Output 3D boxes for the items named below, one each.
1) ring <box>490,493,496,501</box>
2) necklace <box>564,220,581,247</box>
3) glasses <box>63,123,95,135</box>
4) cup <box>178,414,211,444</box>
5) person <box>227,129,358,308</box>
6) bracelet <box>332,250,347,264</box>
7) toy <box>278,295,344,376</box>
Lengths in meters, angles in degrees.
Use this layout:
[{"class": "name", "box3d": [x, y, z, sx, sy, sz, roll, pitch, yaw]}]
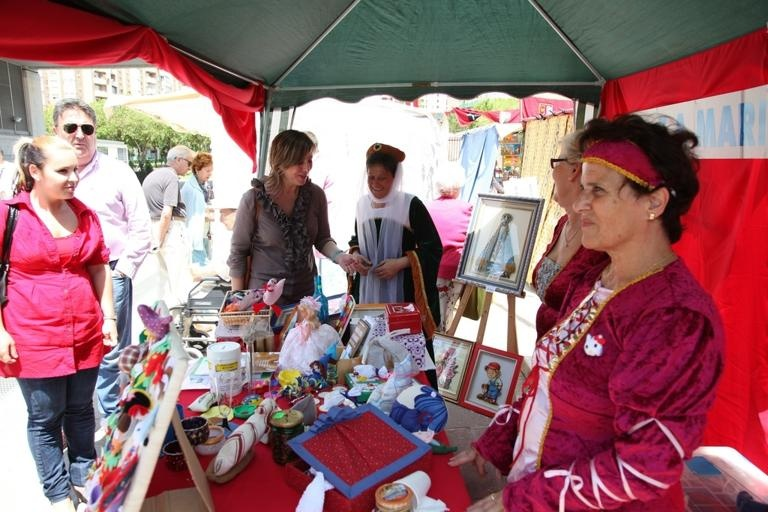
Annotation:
[{"class": "ring", "box3d": [0.489, 1.080, 2.318, 0.019, 0.016, 0.030, -14, -35, 16]}, {"class": "necklace", "box3d": [1.189, -0.153, 3.325, 0.041, 0.127, 0.134, 4, -5, -5]}, {"class": "glasses", "box3d": [-2.232, -0.940, 3.792, 0.075, 0.086, 0.218, 9, 14, 33]}, {"class": "cup", "box3d": [-0.926, 0.839, 2.500, 0.133, 0.089, 0.139, -3, -8, 0]}, {"class": "person", "box3d": [-0.728, -0.315, 3.957, 0.840, 1.286, 0.457, -8, 15, -37]}, {"class": "bracelet", "box3d": [-0.353, 0.007, 4.213, 0.093, 0.113, 0.121, -6, -16, 20]}, {"class": "toy", "box3d": [-0.443, 0.461, 3.121, 0.384, 0.411, 0.360, -3, 6, -14]}]
